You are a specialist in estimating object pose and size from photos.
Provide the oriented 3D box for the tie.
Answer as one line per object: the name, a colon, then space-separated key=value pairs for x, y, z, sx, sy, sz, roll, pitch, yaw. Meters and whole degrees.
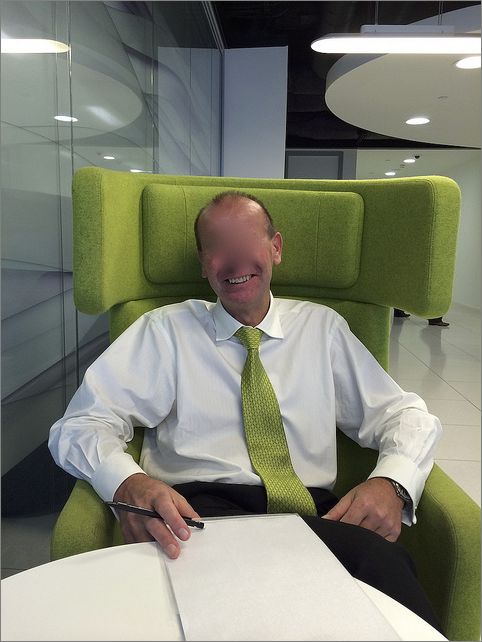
tie: x=0.045 y=0.201 z=1.001 sx=0.105 sy=0.373 sz=0.017 roll=-14 pitch=-23 yaw=13
